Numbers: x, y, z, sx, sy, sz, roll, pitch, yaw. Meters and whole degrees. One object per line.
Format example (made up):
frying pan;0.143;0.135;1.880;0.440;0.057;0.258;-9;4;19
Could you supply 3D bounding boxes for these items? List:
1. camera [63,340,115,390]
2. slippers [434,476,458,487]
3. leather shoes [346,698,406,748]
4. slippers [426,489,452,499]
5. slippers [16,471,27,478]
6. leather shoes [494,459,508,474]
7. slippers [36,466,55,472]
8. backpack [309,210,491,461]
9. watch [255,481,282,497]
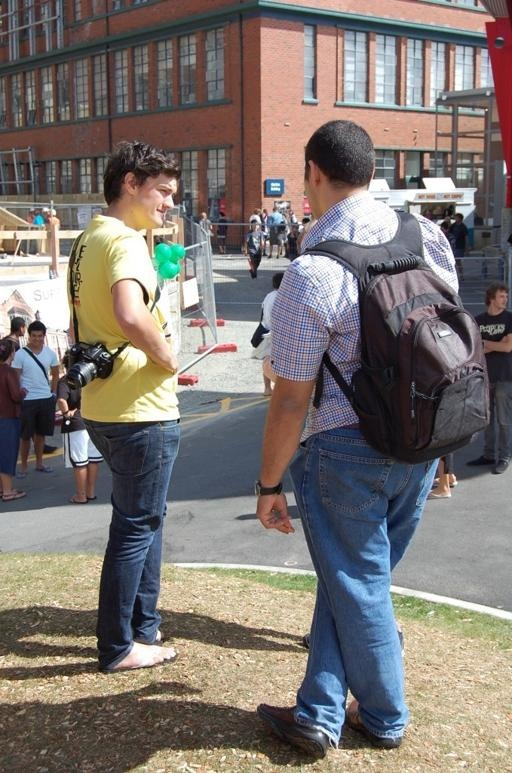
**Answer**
camera;-0.602;-0.093;2.608;0.169;0.107;0.173;15;47;-3
slippers;1.787;0.893;6.836;0.107;0.115;0.308;-3;-8;18
leather shoes;0.380;1.056;2.289;0.075;0.075;0.193;-12;20;-22
slippers;1.663;0.960;6.590;0.198;0.067;0.104;1;0;-4
slippers;-2.642;0.991;8.205;0.105;0.084;0.259;4;-3;-19
leather shoes;2.481;0.805;7.304;0.095;0.151;0.298;0;-4;44
slippers;-2.438;0.943;8.406;0.079;0.051;0.194;-3;2;-34
backpack;0.467;-0.211;2.237;0.477;0.683;0.670;-28;35;-36
watch;0.033;0.304;2.191;0.057;0.024;0.053;-1;-3;-11
